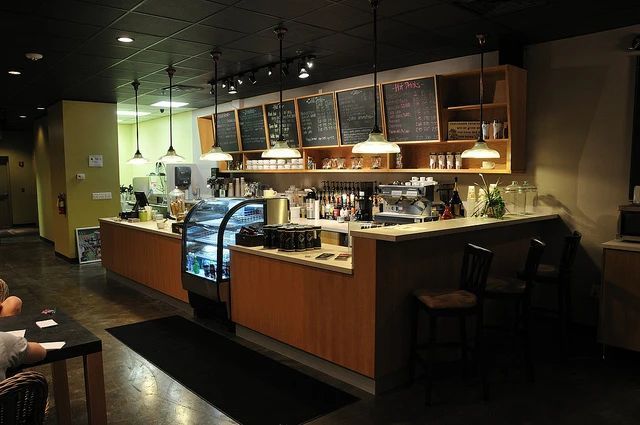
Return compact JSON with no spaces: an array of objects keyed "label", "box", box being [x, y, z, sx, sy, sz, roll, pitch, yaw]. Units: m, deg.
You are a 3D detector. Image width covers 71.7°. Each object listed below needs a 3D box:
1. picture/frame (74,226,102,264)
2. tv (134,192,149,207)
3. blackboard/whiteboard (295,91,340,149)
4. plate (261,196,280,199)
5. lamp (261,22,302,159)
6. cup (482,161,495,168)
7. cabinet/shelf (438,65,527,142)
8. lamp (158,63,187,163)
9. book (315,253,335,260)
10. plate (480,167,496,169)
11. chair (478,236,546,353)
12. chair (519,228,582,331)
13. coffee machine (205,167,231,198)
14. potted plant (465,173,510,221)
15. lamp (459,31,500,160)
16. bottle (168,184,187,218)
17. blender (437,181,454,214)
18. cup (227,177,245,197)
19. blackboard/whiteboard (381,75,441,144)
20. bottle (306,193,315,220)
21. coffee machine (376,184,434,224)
[{"label":"picture/frame","box":[-5.034,0.701,9.613,0.474,0.744,0.362,-7,14,-28]},{"label":"tv","box":[-3.264,-0.249,8.081,0.190,0.265,0.307,-6,13,-22]},{"label":"blackboard/whiteboard","box":[-0.026,-1.608,7.755,0.088,1.097,1.096,-10,9,-42]},{"label":"plate","box":[-0.719,-0.226,6.430,0.151,0.043,0.154,-1,2,-24]},{"label":"lamp","box":[-0.484,-1.554,5.783,0.549,1.572,0.537,-4,16,-20]},{"label":"cup","box":[2.370,-0.666,6.212,0.149,0.091,0.110,1,0,-3]},{"label":"cabinet/shelf","box":[2.427,-1.588,6.553,0.628,1.018,1.184,-20,19,-32]},{"label":"lamp","box":[-3.215,-1.810,9.389,0.486,1.867,5.085,-5,12,-19]},{"label":"book","box":[0.057,0.481,4.891,0.124,0.020,0.266,6,13,30]},{"label":"plate","box":[2.350,-0.628,6.181,0.189,0.034,0.191,3,12,19]},{"label":"chair","box":[2.059,0.968,5.116,0.985,1.306,0.885,2,-4,33]},{"label":"chair","box":[2.841,0.851,5.530,0.692,1.125,0.653,0,1,40]},{"label":"coffee machine","box":[-2.244,-0.656,9.851,0.517,0.642,0.552,-5,15,-9]},{"label":"potted plant","box":[2.198,-0.171,5.723,0.363,0.464,0.348,-14,-1,-23]},{"label":"lamp","box":[2.168,-1.476,5.878,0.502,1.641,1.311,4,13,20]},{"label":"bottle","box":[-2.536,-0.171,7.677,0.319,0.499,0.305,4,4,0]},{"label":"blender","box":[1.876,-0.223,6.614,0.226,0.419,0.490,3,12,18]},{"label":"cup","box":[-1.762,-0.546,9.464,0.223,0.376,0.534,-13,16,-43]},{"label":"blackboard/whiteboard","box":[1.330,-1.516,6.604,0.993,0.906,0.047,-10,11,-21]},{"label":"bottle","box":[-0.166,-0.120,7.998,0.214,0.467,0.163,4,13,20]},{"label":"coffee machine","box":[1.310,-0.111,6.641,0.506,0.591,0.933,-1,4,-36]}]
